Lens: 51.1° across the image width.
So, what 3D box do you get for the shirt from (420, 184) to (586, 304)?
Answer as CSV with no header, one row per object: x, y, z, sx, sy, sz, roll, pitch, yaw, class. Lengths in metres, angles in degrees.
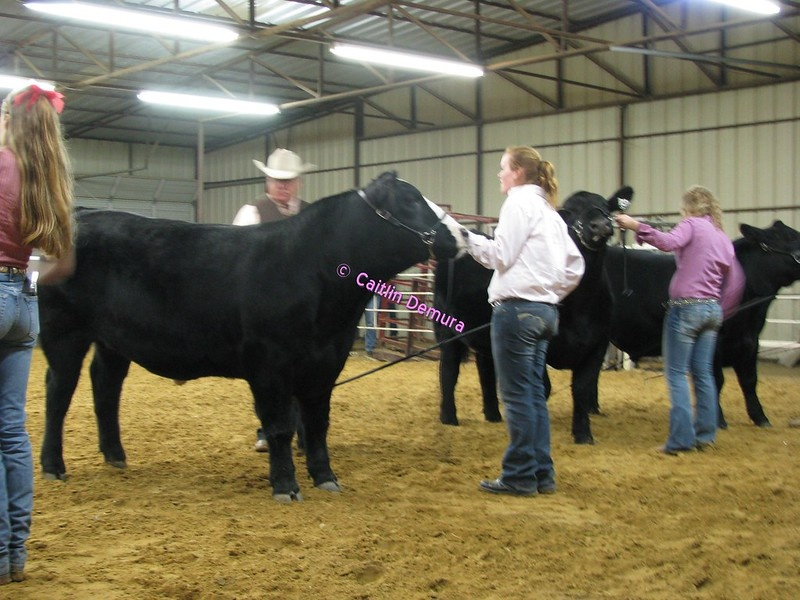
0.836,-0.416,5.659,1.261,0.771,0.902,-3,6,38,shirt

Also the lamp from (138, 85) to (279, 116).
-3.629,-3.834,16.082,1.924,0.169,0.309,1,-16,-27,lamp

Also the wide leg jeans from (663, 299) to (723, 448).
2.141,0.552,6.242,0.519,1.123,0.295,-6,8,-38,wide leg jeans

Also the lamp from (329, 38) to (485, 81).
0.191,-3.985,13.897,2.357,0.092,0.405,6,-29,-19,lamp

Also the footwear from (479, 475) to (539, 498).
0.680,1.191,5.372,0.380,0.132,0.119,5,-1,15,footwear

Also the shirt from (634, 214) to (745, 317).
2.276,-0.230,6.635,1.247,0.544,0.355,11,4,6,shirt

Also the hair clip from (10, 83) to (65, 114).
-1.819,-1.019,4.220,0.183,0.162,0.066,-11,-29,-43,hair clip
